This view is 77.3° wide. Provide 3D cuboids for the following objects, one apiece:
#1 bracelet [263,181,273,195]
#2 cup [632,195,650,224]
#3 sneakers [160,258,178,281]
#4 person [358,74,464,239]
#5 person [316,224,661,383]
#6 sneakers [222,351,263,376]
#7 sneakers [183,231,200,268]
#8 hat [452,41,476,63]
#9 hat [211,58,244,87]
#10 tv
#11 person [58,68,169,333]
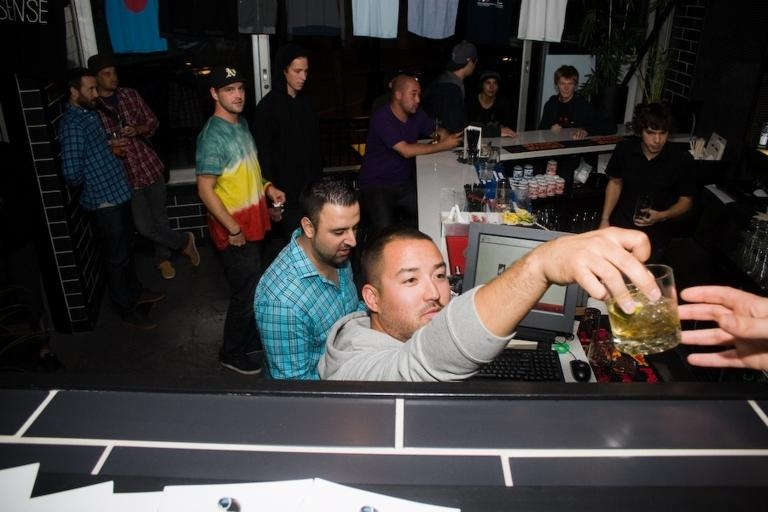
[{"bbox_3d":[-1.018,-0.594,4.200,0.084,0.112,0.054,2,6,17],"label":"bracelet"},{"bbox_3d":[2.101,-0.376,3.928,0.100,0.198,0.221,10,27,17],"label":"cup"},{"bbox_3d":[-2.195,0.144,4.879,0.100,0.104,0.279,-15,29,-28],"label":"sneakers"},{"bbox_3d":[0.195,-0.983,4.843,0.878,1.581,0.748,-11,29,-25],"label":"person"},{"bbox_3d":[0.202,0.156,1.435,0.880,0.348,0.638,-7,8,22],"label":"person"},{"bbox_3d":[-1.114,0.831,3.789,0.369,0.147,0.139,4,25,3],"label":"sneakers"},{"bbox_3d":[-2.060,-0.058,5.093,0.128,0.355,0.142,-12,18,24],"label":"sneakers"},{"bbox_3d":[0.835,-2.109,5.003,0.195,0.205,0.226,20,31,32],"label":"hat"},{"bbox_3d":[-1.195,-1.356,3.641,0.256,0.143,0.275,-7,28,-18],"label":"hat"},{"bbox_3d":[0.516,0.118,1.832,0.516,0.441,0.282,13,29,-1],"label":"tv"},{"bbox_3d":[-2.379,-0.410,4.170,0.637,2.402,0.942,-9,56,-20],"label":"person"}]
